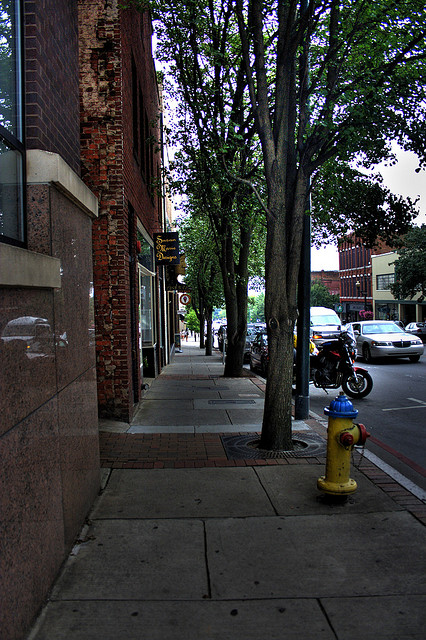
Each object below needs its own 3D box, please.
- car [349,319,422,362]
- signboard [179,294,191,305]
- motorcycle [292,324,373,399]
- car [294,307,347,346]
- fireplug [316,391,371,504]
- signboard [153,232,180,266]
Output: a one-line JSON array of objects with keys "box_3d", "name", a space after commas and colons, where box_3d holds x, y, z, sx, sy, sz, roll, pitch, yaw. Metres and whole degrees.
[{"box_3d": [6.695, 0.776, 21.132, 1.812, 1.501, 4.460, -1, -5, -7], "name": "car"}, {"box_3d": [-1.941, -1.380, 33.598, 0.659, 0.717, 0.159, 3, -14, -31], "name": "signboard"}, {"box_3d": [2.459, 0.908, 11.486, 2.131, 1.402, 0.926, 8, -9, 26], "name": "motorcycle"}, {"box_3d": [5.140, 0.307, 24.563, 1.719, 1.900, 3.358, -1, 7, -2], "name": "car"}, {"box_3d": [1.109, 1.080, 4.445, 0.425, 0.921, 0.490, 0, -1, 13], "name": "fireplug"}, {"box_3d": [-1.594, -2.392, 17.448, 1.114, 1.606, 0.175, 0, -6, 2], "name": "signboard"}]
